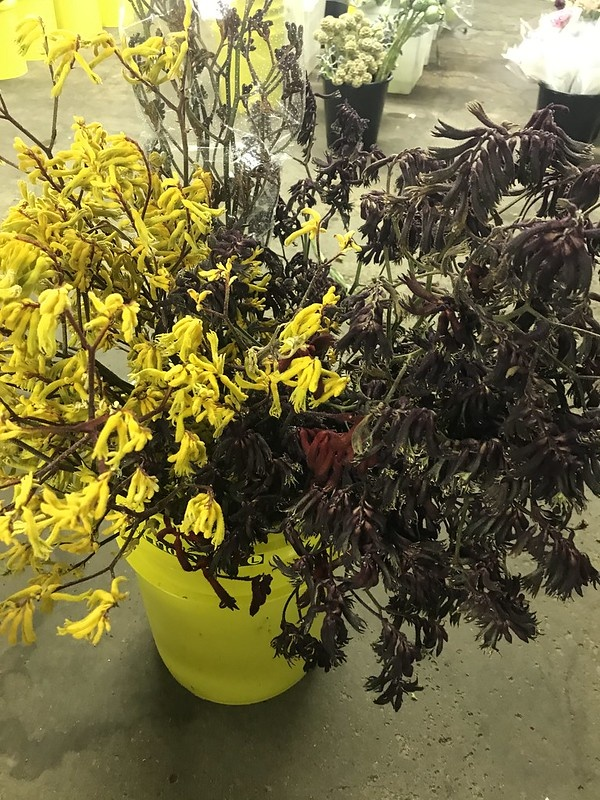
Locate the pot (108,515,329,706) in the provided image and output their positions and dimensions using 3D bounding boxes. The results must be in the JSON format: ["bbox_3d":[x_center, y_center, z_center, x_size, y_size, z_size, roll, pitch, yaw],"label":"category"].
[{"bbox_3d":[-0.090,0.228,0.908,0.310,0.269,0.276,3,49,-2],"label":"pot"}]
